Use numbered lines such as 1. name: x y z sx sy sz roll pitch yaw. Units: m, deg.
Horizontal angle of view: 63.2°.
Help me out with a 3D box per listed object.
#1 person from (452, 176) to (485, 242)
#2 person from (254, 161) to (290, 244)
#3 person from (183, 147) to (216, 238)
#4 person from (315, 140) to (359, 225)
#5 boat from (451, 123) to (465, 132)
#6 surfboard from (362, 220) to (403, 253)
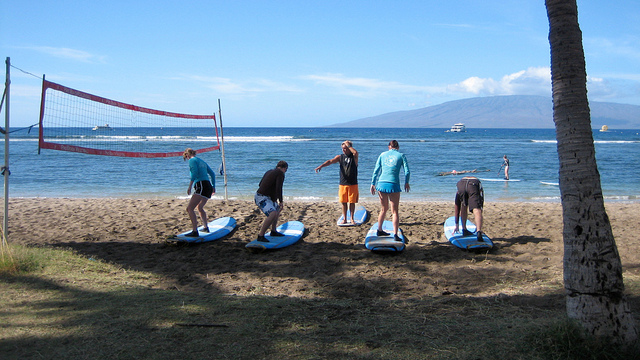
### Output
1. person: 3.859 0.737 13.712 0.788 1.648 1.436 -1 2 13
2. person: -1.255 0.578 13.445 0.821 2.099 1.009 -2 2 -6
3. person: -3.192 0.335 13.763 0.779 2.352 1.178 -2 2 -14
4. person: 0.625 0.092 14.807 0.881 2.366 1.205 -2 2 1
5. boat: 40.544 -15.412 152.620 3.359 3.407 10.023 -1 -1 12
6. surfboard: 1.614 1.504 13.529 0.757 0.184 2.018 1 8 8
